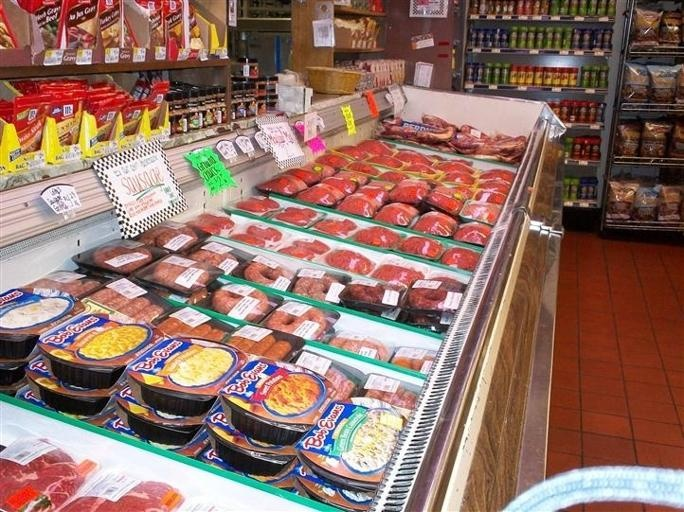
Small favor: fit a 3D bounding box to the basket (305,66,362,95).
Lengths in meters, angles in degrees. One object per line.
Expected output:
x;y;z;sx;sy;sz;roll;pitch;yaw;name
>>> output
-0.077;-1.306;3.058;0.328;0.114;0.263;10;21;24;basket
